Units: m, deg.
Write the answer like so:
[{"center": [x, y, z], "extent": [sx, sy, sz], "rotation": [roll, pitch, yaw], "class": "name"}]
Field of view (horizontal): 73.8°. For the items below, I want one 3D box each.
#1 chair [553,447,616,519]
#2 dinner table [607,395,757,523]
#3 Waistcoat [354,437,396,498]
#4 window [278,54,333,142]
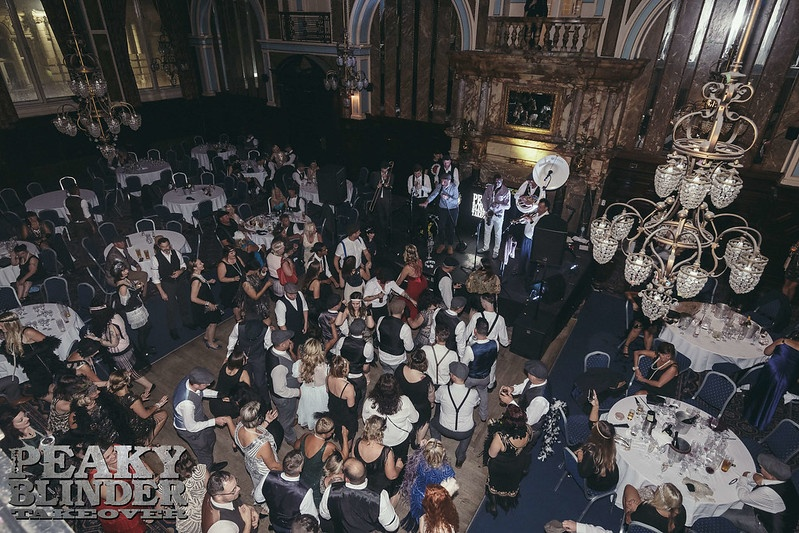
[{"center": [3.066, 3.586, 8.732], "extent": [0.793, 1.225, 0.706], "rotation": [-21, 30, -7], "class": "chair"}, {"center": [4.502, 3.225, 8.843], "extent": [2.139, 1.345, 1.480], "rotation": [16, 32, 23], "class": "dinner table"}, {"center": [-0.391, 3.008, 7.938], "extent": [0.664, 0.879, 0.448], "rotation": [21, 47, 27], "class": "Waistcoat"}, {"center": [-3.249, -6.047, 18.581], "extent": [2.104, 3.002, 0.402], "rotation": [24, 45, 20], "class": "window"}]
